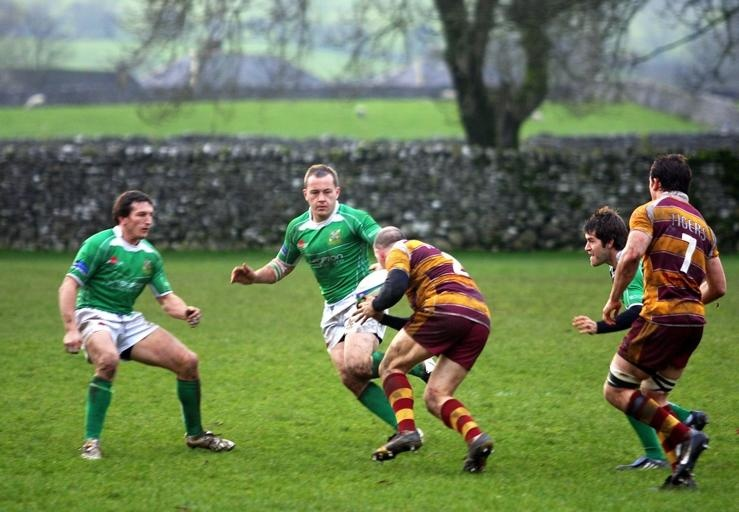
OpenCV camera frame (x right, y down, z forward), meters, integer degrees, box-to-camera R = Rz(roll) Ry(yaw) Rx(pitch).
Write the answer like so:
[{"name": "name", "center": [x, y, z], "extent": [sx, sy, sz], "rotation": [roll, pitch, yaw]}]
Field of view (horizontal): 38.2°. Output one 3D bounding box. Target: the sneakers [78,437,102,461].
[{"name": "sneakers", "center": [-3.128, 2.164, 11.904], "extent": [0.261, 0.200, 0.197], "rotation": [0, 15, -4]}]

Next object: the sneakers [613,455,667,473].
[{"name": "sneakers", "center": [2.979, 2.324, 11.772], "extent": [0.583, 0.135, 0.184], "rotation": [0, -11, -1]}]

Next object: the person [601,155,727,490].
[{"name": "person", "center": [3.169, 0.665, 11.519], "extent": [1.218, 3.408, 1.464], "rotation": [5, 17, 11]}]

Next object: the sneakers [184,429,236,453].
[{"name": "sneakers", "center": [-1.821, 2.148, 12.195], "extent": [0.603, 0.185, 0.210], "rotation": [0, -4, 3]}]
